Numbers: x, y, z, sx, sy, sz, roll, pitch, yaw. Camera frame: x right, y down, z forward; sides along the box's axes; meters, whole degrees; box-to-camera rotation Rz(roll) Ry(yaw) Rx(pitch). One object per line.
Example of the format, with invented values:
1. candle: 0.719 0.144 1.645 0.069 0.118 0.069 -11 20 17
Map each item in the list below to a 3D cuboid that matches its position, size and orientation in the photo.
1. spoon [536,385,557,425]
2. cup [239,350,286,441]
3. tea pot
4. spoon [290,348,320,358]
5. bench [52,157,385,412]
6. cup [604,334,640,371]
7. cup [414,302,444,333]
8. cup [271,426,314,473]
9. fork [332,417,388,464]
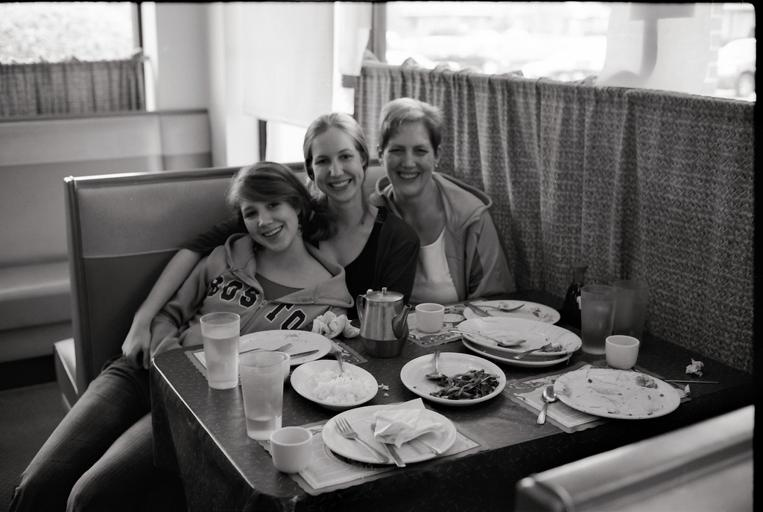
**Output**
1. spoon: 0.314 0.282 1.048 0.024 0.016 0.112 4 21 13
2. cup: -0.211 0.247 0.999 0.090 0.159 0.095 -11 -1 0
3. tea pot: 0.006 0.147 1.228 0.164 0.150 0.115 3 7 41
4. spoon: -0.173 0.217 1.233 0.067 0.005 0.009 -7 30 -34
5. bench: -0.737 0.201 2.231 1.239 0.874 0.608 -14 30 -28
6. cup: 0.512 0.203 1.172 0.072 0.055 0.071 4 -3 0
7. cup: 0.122 0.147 1.372 0.069 0.052 0.071 1 12 0
8. cup: -0.143 0.307 0.871 0.072 0.052 0.068 -3 10 1
9. fork: -0.051 0.298 0.950 0.033 0.026 0.183 -1 15 -32
